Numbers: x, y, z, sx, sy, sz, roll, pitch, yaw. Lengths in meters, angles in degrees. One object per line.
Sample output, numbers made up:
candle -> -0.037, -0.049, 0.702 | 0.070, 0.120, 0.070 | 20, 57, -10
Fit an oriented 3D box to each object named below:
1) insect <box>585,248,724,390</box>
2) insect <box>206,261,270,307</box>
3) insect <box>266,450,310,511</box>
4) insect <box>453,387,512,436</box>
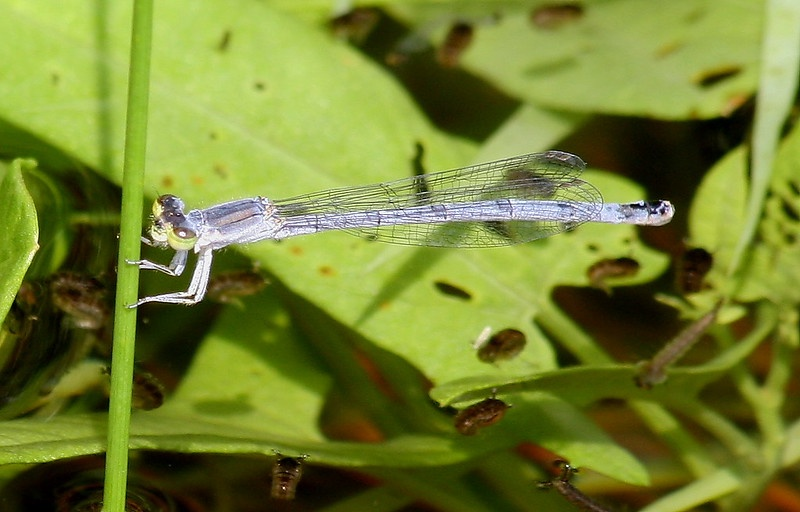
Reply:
insect -> 0.567, 0.122, 1.774 | 0.263, 0.267, 0.266 | 7, -1, -7
insect -> -0.355, 0.062, 1.767 | 0.124, 0.091, 0.083 | 6, -2, 13
insect -> -0.208, 0.414, 1.481 | 0.059, 0.102, 0.035 | 7, -2, -6
insect -> 0.161, 0.309, 1.607 | 0.114, 0.069, 0.032 | -21, -33, -15
